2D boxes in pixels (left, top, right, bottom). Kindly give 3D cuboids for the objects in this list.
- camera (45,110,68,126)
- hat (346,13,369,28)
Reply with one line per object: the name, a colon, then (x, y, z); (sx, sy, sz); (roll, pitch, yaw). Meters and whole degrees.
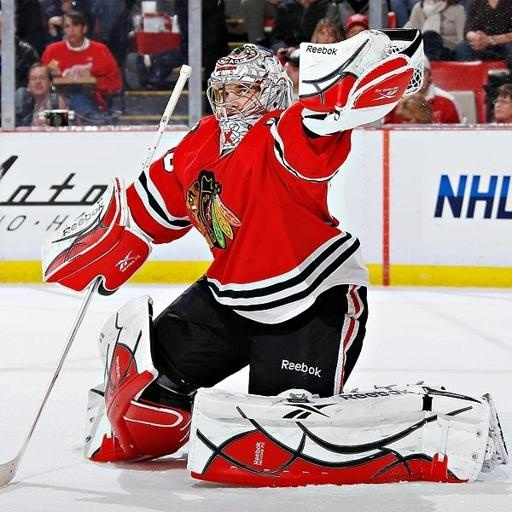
camera: (-1.107, -0.772, 5.129); (0.100, 0.086, 0.026); (-2, 20, 2)
hat: (0.541, -1.254, 4.892); (0.125, 0.081, 0.068); (2, 16, 6)
